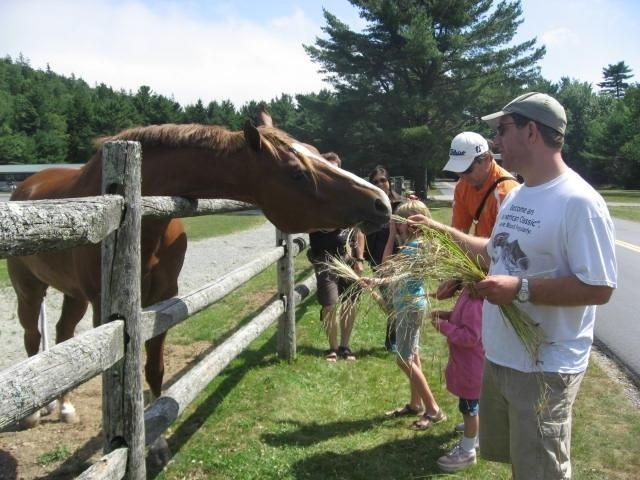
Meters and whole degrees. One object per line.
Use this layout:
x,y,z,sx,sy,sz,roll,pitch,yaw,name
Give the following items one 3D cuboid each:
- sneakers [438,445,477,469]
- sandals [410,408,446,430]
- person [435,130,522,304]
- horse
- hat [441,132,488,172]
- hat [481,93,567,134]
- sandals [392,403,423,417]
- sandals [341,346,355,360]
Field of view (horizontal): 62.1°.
1.107,1.763,4.350,0.308,0.172,0.143,0,-5,-9,sneakers
0.978,1.634,4.864,0.333,0.117,0.133,-9,-1,-20,sandals
1.391,-0.145,4.640,0.813,1.499,0.659,1,4,36,person
-1.236,0.416,4.392,3.402,2.682,1.446,5,11,28,horse
1.216,-0.772,4.551,0.482,0.261,0.316,-34,25,-28,hat
1.384,-0.854,3.521,0.418,0.259,0.311,6,12,10,hat
0.824,1.622,5.022,0.295,0.095,0.116,-8,-1,10,sandals
0.331,1.334,6.232,0.077,0.072,0.214,-1,-1,-23,sandals
